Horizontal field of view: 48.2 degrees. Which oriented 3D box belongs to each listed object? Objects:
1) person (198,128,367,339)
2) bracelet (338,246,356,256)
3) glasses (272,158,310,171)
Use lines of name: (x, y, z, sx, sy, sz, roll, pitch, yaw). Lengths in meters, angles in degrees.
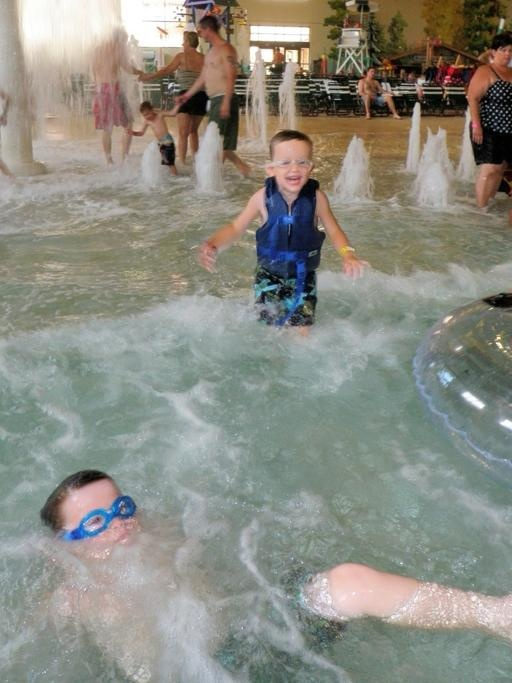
person: (0.130, -0.477, 2.537, 0.667, 0.844, 0.534, 5, 22, 8)
bracelet: (0.380, -0.377, 2.406, 0.067, 0.025, 0.066, 1, 17, 4)
glasses: (0.147, -0.752, 2.449, 0.178, 0.039, 0.100, 4, 21, 6)
